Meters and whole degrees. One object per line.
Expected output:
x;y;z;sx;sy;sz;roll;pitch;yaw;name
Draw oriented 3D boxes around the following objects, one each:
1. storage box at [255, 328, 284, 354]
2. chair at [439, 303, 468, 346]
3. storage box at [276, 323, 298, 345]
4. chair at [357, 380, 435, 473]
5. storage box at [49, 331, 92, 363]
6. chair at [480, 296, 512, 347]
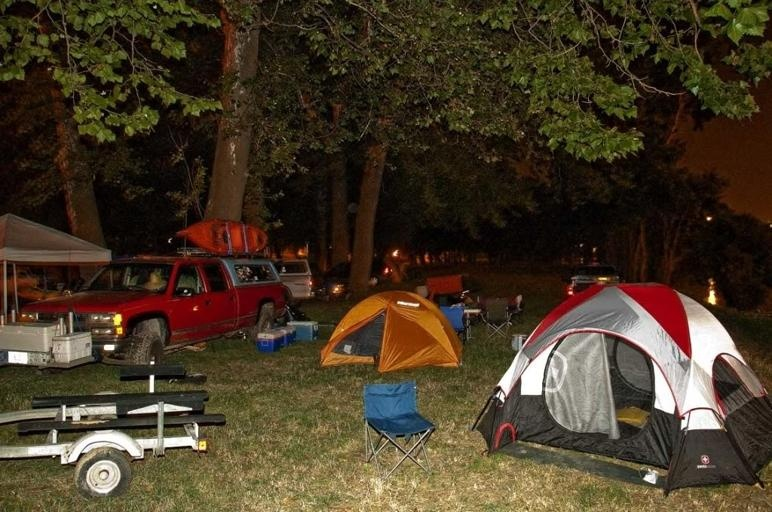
-3.022;2.185;16.622;0.450;0.406;0.801;-1;1;8;storage box
1.921;1.782;17.834;0.785;1.271;0.886;0;-5;1;chair
-2.685;2.113;17.626;0.399;0.511;0.739;-2;1;4;storage box
0.207;2.620;10.452;1.213;1.431;1.006;0;1;-31;chair
-5.925;1.745;12.195;0.439;0.511;0.768;-1;-3;4;storage box
3.333;1.848;19.502;1.115;1.426;1.037;-1;-5;5;chair
